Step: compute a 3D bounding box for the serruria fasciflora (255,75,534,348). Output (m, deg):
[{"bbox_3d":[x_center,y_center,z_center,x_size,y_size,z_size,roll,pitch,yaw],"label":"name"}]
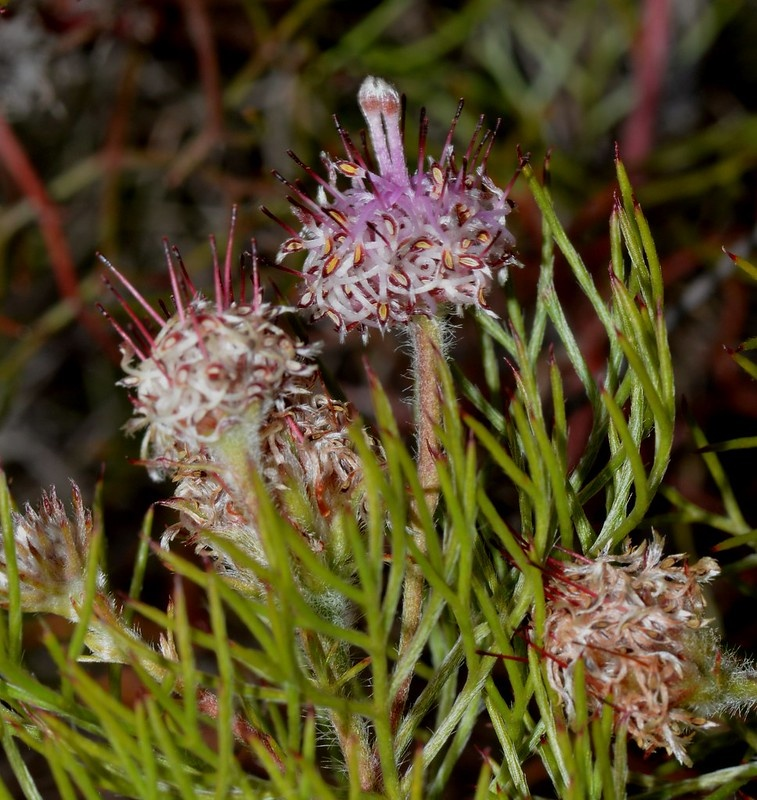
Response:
[{"bbox_3d":[0.011,-0.158,0.722,0.131,0.144,0.132,-6,2,-35],"label":"serruria fasciflora"}]
